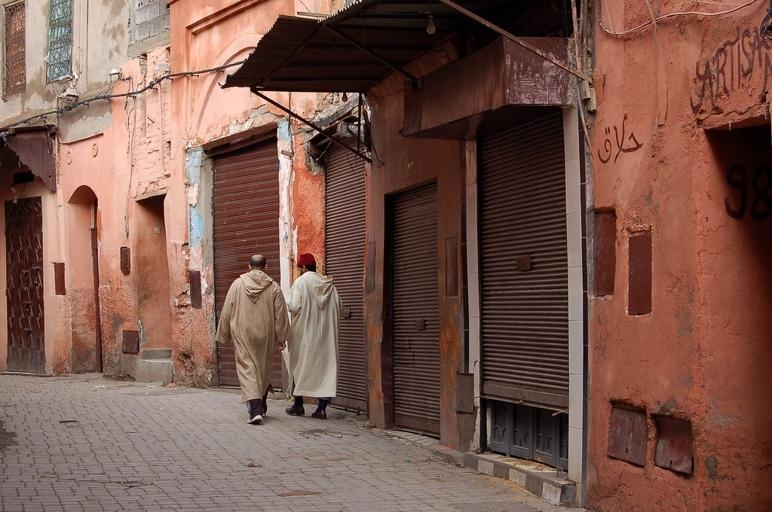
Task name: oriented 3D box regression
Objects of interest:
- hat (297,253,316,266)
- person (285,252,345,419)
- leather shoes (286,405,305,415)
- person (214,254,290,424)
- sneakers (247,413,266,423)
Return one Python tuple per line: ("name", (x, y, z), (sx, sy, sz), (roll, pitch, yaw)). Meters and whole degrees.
("hat", (-1.203, 0.063, 12.900), (0.241, 0.164, 0.167), (4, -4, -33))
("person", (-1.091, 1.186, 12.701), (0.770, 2.429, 0.670), (0, 1, -6))
("leather shoes", (-1.368, 2.318, 12.720), (0.107, 0.151, 0.307), (-3, 7, -45))
("person", (-1.908, 1.220, 12.288), (1.009, 2.005, 0.710), (0, 1, -9))
("sneakers", (-1.842, 2.278, 11.917), (0.217, 0.152, 0.195), (0, 0, 8))
